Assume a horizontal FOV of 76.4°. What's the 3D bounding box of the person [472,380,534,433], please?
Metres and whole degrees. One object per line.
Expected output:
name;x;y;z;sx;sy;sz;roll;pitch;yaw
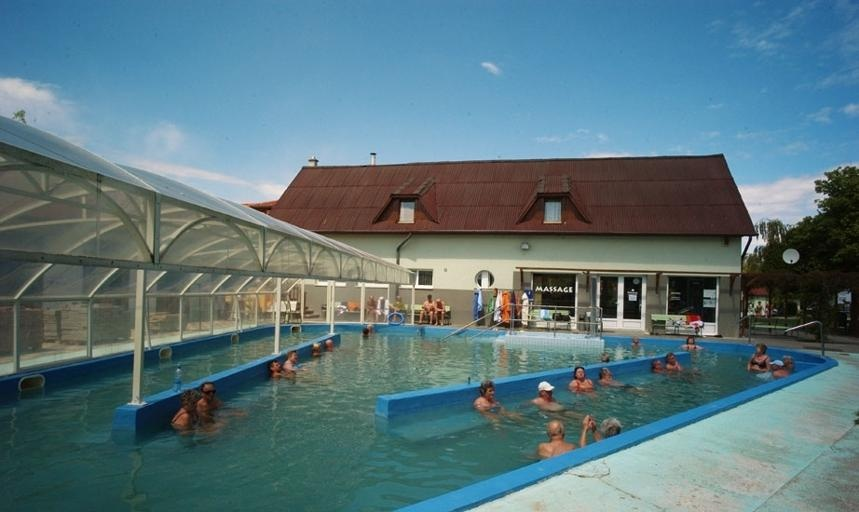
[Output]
person;2.293;5.058;18.878;1.750;1.416;1.099;-4;-10;19

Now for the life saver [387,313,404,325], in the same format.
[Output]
life saver;-2.028;3.632;32.269;0.984;0.680;0.671;-4;-10;19

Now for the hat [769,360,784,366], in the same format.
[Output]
hat;14.372;4.446;22.706;0.381;0.180;0.518;1;-3;12

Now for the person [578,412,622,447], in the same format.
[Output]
person;5.045;5.409;17.109;1.601;0.747;0.927;-12;-14;43

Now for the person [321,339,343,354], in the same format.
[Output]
person;-4.719;4.252;26.225;0.860;0.695;1.875;0;-9;-9

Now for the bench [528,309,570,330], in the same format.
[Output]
bench;6.919;3.660;31.230;2.560;1.185;1.146;3;-5;0

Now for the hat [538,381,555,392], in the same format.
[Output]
hat;4.191;4.712;19.694;0.472;0.231;0.363;-6;-5;26

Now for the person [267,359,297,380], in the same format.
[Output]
person;-5.765;4.506;21.680;1.065;0.705;1.017;-5;-9;21

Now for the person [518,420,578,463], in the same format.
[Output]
person;3.965;5.776;16.992;1.851;1.169;0.912;-13;-27;32

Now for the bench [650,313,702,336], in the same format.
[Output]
bench;13.578;3.810;30.173;2.592;1.206;1.013;-4;-10;19
